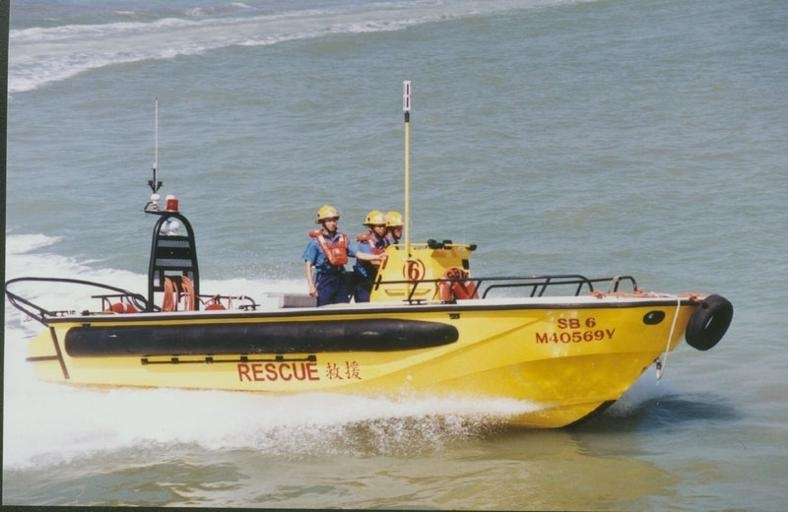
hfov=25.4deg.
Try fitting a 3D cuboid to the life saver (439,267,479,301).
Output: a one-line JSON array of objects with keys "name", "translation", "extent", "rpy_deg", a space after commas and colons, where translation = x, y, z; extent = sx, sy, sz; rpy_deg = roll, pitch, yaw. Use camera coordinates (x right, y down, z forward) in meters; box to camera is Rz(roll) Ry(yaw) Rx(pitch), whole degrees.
[{"name": "life saver", "translation": [1.366, 0.656, 36.274], "extent": [0.731, 0.711, 0.332], "rpy_deg": [-15, 18, -13]}]

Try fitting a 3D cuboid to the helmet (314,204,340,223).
[{"name": "helmet", "translation": [-1.420, -0.873, 37.090], "extent": [0.545, 0.251, 0.583], "rpy_deg": [-4, 10, 5]}]
